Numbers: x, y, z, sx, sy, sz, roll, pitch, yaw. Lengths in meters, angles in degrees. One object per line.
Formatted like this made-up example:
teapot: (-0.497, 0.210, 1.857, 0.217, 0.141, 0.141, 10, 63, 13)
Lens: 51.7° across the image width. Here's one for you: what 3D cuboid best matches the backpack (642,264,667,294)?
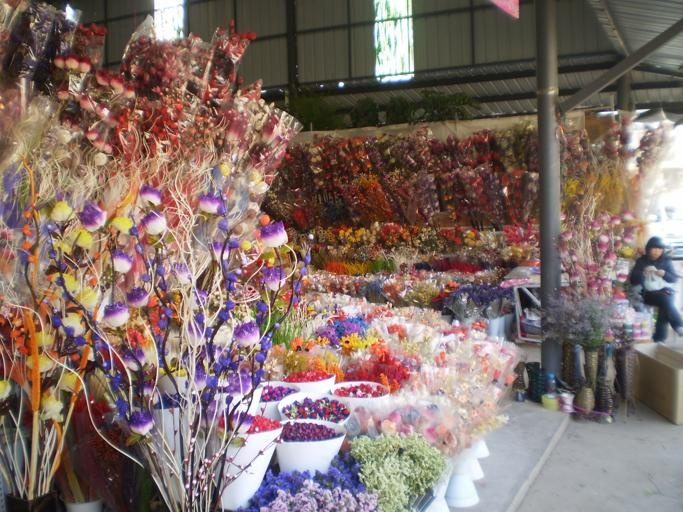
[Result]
backpack: (2.793, 0.184, 6.334, 0.133, 0.201, 0.094, -27, 10, 6)
